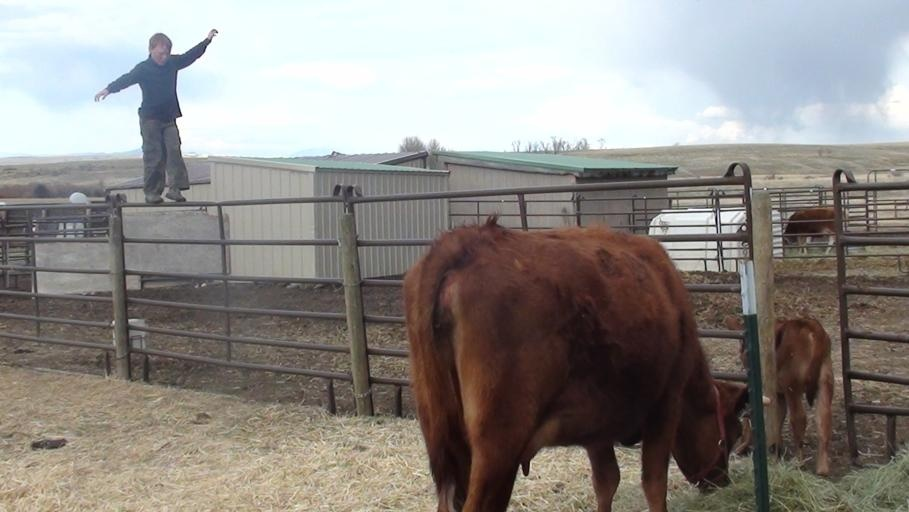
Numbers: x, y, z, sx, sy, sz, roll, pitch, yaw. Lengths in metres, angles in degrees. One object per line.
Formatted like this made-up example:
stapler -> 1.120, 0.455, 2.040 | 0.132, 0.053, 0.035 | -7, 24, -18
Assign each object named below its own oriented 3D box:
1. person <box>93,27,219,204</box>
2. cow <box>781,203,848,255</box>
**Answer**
person -> -4.547, -2.091, 11.778 | 1.206, 2.539, 0.642 | -3, 5, -27
cow -> 8.912, -0.634, 19.118 | 1.105, 1.147, 3.850 | 1, 4, 25
